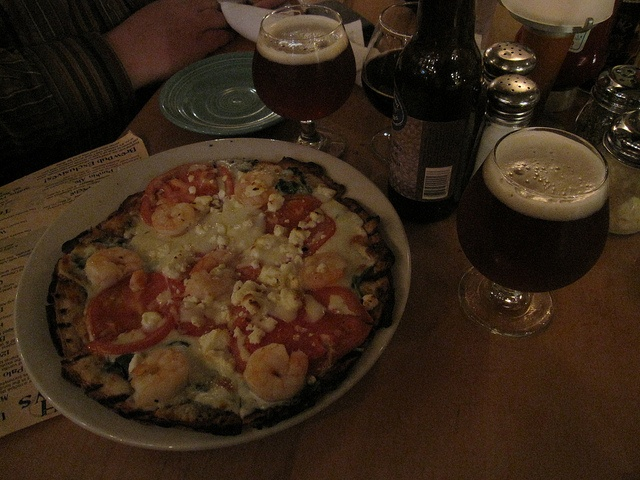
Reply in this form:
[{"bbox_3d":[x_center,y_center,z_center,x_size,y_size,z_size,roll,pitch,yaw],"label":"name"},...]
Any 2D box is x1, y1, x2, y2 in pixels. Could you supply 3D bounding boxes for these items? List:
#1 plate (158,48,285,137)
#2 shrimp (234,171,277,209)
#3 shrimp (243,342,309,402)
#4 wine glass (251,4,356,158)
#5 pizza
[{"bbox_3d":[-0.252,-0.378,1.471,0.239,0.050,0.242,-12,47,-11],"label":"plate"},{"bbox_3d":[-0.145,-0.117,1.276,0.082,0.025,0.084,-26,64,-6],"label":"shrimp"},{"bbox_3d":[-0.085,0.247,1.041,0.110,0.036,0.105,18,60,18],"label":"shrimp"},{"bbox_3d":[-0.038,-0.369,1.329,0.175,0.315,0.249,1,34,1],"label":"wine glass"},{"bbox_3d":[-0.194,0.084,1.165,0.537,0.092,0.552,23,58,18],"label":"pizza"}]
